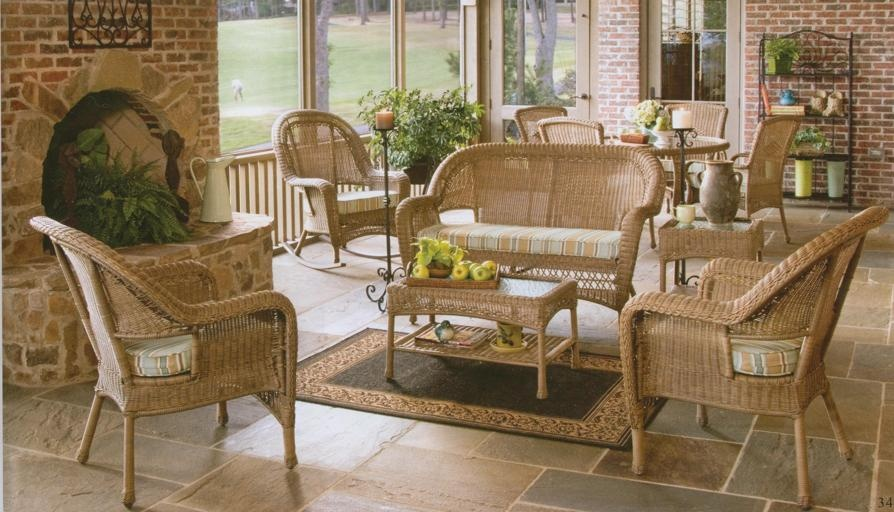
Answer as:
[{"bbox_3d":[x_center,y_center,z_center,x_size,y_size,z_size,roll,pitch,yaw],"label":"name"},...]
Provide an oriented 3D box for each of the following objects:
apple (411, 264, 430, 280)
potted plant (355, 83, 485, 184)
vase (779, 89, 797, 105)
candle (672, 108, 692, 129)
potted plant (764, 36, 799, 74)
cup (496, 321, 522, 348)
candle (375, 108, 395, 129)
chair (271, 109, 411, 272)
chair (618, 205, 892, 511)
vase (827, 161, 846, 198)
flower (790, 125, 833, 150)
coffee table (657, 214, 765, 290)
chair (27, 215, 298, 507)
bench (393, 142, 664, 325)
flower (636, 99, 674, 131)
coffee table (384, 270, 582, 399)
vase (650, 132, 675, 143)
[{"bbox_3d":[-0.187,0.105,4.839,0.121,0.096,0.115,3,-4,-38],"label":"apple"},{"bbox_3d":[-0.292,-1.553,8.595,1.990,1.095,1.292,2,16,5],"label":"potted plant"},{"bbox_3d":[4.459,-2.104,9.325,0.264,0.195,0.235,-1,3,9],"label":"vase"},{"bbox_3d":[2.118,-1.237,6.372,0.147,0.162,0.288,1,14,13],"label":"candle"},{"bbox_3d":[4.425,-2.635,9.267,0.460,0.462,0.227,-8,17,-20],"label":"potted plant"},{"bbox_3d":[0.418,0.533,4.812,0.207,0.121,0.182,0,2,1],"label":"cup"},{"bbox_3d":[-0.531,-1.144,5.960,0.126,0.150,0.141,0,15,10],"label":"candle"},{"bbox_3d":[-1.065,-0.715,7.221,1.412,1.359,1.335,-3,19,-30],"label":"chair"},{"bbox_3d":[1.970,0.428,4.452,1.827,1.747,1.585,6,13,34],"label":"chair"},{"bbox_3d":[5.040,-0.992,9.130,0.200,0.465,0.221,3,17,20],"label":"vase"},{"bbox_3d":[4.734,-1.517,9.292,0.660,0.306,0.594,0,6,4],"label":"flower"},{"bbox_3d":[2.126,0.041,5.827,0.693,0.484,0.769,0,2,18],"label":"coffee table"},{"bbox_3d":[-1.494,0.403,4.665,1.866,1.808,1.533,-9,16,-36],"label":"chair"},{"bbox_3d":[0.730,-0.244,5.826,2.140,1.120,1.070,4,25,29],"label":"bench"},{"bbox_3d":[2.217,-1.519,7.626,0.390,0.306,0.246,-1,16,6],"label":"flower"},{"bbox_3d":[0.254,0.394,4.712,1.342,0.602,0.876,3,7,21],"label":"coffee table"},{"bbox_3d":[2.328,-1.280,7.594,0.231,0.080,0.203,0,1,0],"label":"vase"}]
